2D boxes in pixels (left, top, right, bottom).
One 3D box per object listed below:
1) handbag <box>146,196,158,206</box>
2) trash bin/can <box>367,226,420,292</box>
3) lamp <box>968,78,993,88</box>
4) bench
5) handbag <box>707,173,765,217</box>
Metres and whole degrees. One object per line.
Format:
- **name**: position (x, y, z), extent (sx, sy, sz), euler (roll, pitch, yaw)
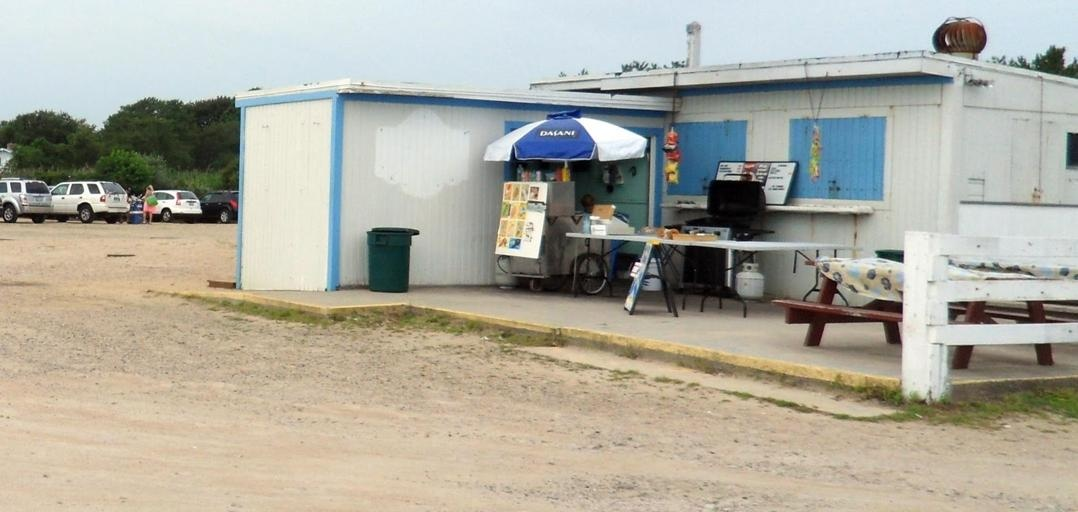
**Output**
- **handbag**: position (-15.886, -2.255, 51.265), extent (0.400, 0.312, 0.183), euler (-8, 1, -27)
- **trash bin/can**: position (-3.419, 0.092, 28.863), extent (1.013, 1.481, 0.424), euler (-1, 7, -9)
- **lamp**: position (9.880, -3.888, 28.087), extent (0.570, 0.173, 0.137), euler (-1, 7, -7)
- **bench**: position (7.547, 1.087, 25.249), extent (5.435, 1.997, 2.562), euler (2, 7, 9)
- **handbag**: position (4.668, -1.509, 29.395), extent (1.288, 0.819, 0.910), euler (0, 3, 21)
